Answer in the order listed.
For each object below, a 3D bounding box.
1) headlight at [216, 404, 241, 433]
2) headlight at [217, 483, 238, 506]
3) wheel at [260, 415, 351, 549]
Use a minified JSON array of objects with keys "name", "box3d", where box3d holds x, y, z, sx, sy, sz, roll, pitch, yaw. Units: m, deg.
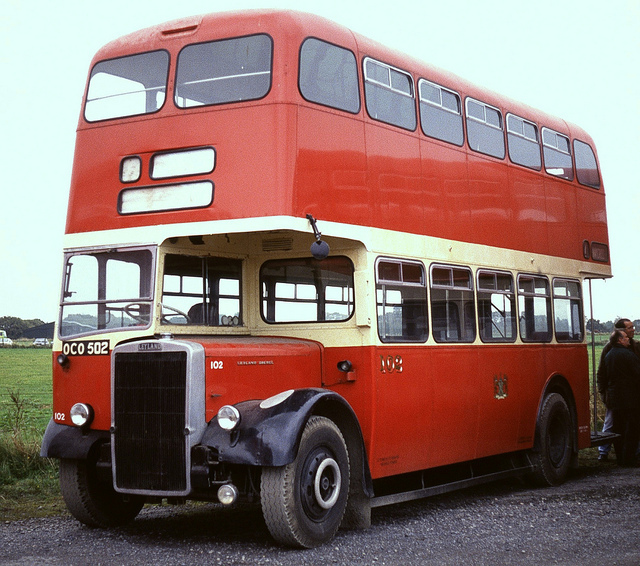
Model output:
[{"name":"headlight","box3d":[-0.772,1.100,4.685,0.257,0.176,0.123,4,1,37]},{"name":"headlight","box3d":[-0.730,1.684,4.566,0.172,0.147,0.149,4,1,30]},{"name":"wheel","box3d":[-0.141,1.651,4.773,0.333,1.274,1.054,-4,-2,28]}]
